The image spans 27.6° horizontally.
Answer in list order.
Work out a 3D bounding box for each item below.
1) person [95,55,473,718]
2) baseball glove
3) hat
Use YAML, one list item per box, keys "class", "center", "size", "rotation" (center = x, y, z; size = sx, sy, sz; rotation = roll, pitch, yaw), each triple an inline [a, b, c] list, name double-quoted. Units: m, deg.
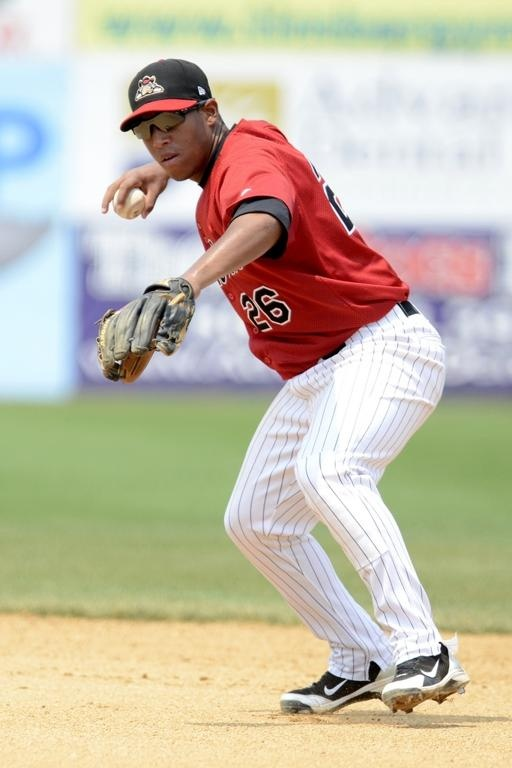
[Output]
- class: "person"
  center: [0.072, 0.030, 2.625]
  size: [0.726, 1.727, 1.087]
  rotation: [-3, -6, 35]
- class: "baseball glove"
  center: [-0.257, -0.116, 2.336]
  size: [0.179, 0.204, 0.328]
  rotation: [2, -5, -17]
- class: "hat"
  center: [-0.225, -0.720, 2.642]
  size: [0.159, 0.121, 0.232]
  rotation: [-11, 12, 46]
